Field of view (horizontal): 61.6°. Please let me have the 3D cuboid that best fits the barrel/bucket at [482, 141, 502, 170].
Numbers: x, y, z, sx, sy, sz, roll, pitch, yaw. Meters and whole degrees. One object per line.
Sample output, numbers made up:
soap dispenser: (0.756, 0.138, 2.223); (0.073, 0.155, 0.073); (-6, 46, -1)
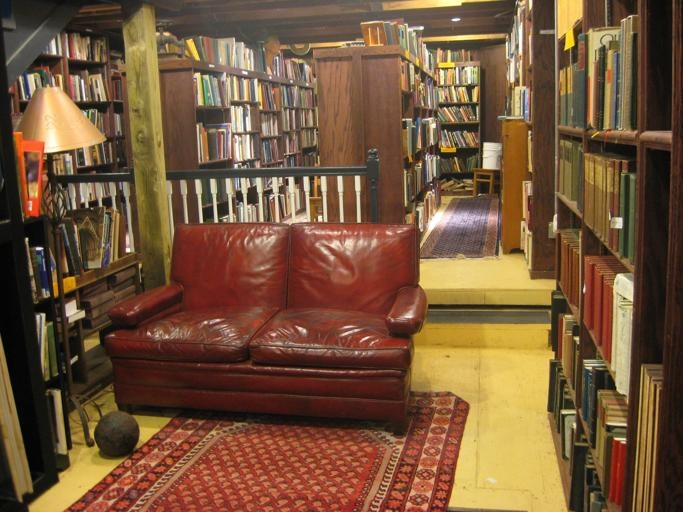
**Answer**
barrel/bucket: (1.791, -1.184, 6.834); (0.335, 0.382, 0.345); (-1, 9, 0)
